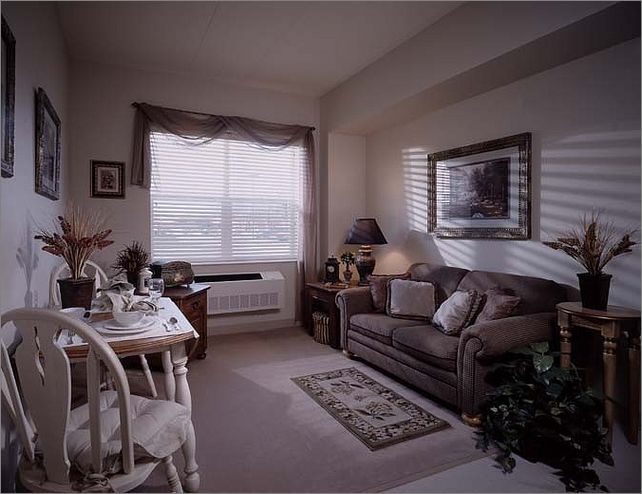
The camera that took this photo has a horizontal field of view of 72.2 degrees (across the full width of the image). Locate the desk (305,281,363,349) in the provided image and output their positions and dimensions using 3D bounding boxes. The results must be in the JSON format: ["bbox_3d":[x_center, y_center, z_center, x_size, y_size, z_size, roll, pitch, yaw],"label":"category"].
[{"bbox_3d":[0.053,0.742,4.986,0.624,0.646,0.632,3,-2,-30],"label":"desk"}]

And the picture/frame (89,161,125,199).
[{"bbox_3d":[-2.237,-0.694,4.565,0.373,0.514,0.035,0,-2,-29],"label":"picture/frame"}]

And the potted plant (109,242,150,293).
[{"bbox_3d":[-1.676,0.178,3.831,0.362,0.440,0.388,-5,-6,32],"label":"potted plant"}]

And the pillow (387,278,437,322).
[{"bbox_3d":[0.882,0.436,4.277,0.547,0.529,0.299,1,-22,25],"label":"pillow"}]

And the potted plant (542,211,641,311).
[{"bbox_3d":[1.920,0.063,3.233,0.638,0.754,0.659,-2,-2,42],"label":"potted plant"}]

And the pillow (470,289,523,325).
[{"bbox_3d":[1.405,0.498,3.511,0.341,0.282,0.331,7,11,39],"label":"pillow"}]

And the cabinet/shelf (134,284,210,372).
[{"bbox_3d":[-1.334,0.682,4.437,0.651,1.076,0.811,0,1,1],"label":"cabinet/shelf"}]

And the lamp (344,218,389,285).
[{"bbox_3d":[0.473,0.036,5.243,0.617,0.903,0.641,1,-5,-12],"label":"lamp"}]

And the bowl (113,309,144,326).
[{"bbox_3d":[-1.093,0.393,2.471,0.105,0.063,0.110,-2,-6,0],"label":"bowl"}]

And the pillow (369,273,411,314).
[{"bbox_3d":[0.679,0.469,4.290,0.304,0.372,0.139,-1,-18,10],"label":"pillow"}]

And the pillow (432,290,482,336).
[{"bbox_3d":[1.141,0.526,3.656,0.103,0.352,0.345,32,0,-11],"label":"pillow"}]

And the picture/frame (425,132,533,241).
[{"bbox_3d":[1.498,-0.563,4.076,0.084,0.942,1.063,0,-1,-33],"label":"picture/frame"}]

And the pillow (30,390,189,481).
[{"bbox_3d":[-0.989,0.902,2.163,0.385,0.111,0.396,-3,-1,31],"label":"pillow"}]
